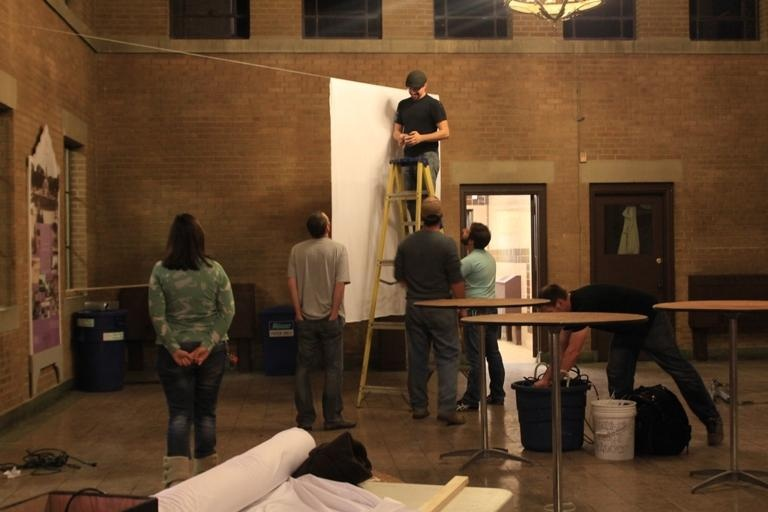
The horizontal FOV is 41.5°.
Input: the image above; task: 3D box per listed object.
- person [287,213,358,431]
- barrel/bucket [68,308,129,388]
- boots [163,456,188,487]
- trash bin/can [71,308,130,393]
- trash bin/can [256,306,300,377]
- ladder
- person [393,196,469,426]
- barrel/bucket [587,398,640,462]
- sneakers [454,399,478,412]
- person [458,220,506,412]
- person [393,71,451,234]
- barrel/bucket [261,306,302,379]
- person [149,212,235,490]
[{"bbox_3d":[-0.814,0.832,12.934,0.808,2.769,0.355,0,3,-7],"label":"person"},{"bbox_3d":[-4.323,1.413,15.545,0.923,1.233,1.054,1,-2,-41],"label":"barrel/bucket"},{"bbox_3d":[-2.203,2.279,10.775,0.340,0.351,0.289,-1,-3,12],"label":"boots"},{"bbox_3d":[-4.244,1.431,15.528,0.728,1.218,0.891,0,-1,-1],"label":"trash bin/can"},{"bbox_3d":[-1.700,1.356,16.158,0.612,1.214,0.538,2,8,-5],"label":"trash bin/can"},{"bbox_3d":[0.232,0.359,14.140,1.220,3.355,1.184,0,0,0],"label":"ladder"},{"bbox_3d":[0.657,0.699,13.394,0.950,2.884,0.853,1,2,26],"label":"person"},{"bbox_3d":[2.746,2.016,11.994,0.594,0.660,0.622,1,5,0],"label":"barrel/bucket"},{"bbox_3d":[1.130,2.030,13.724,0.339,0.146,0.114,7,-5,-9],"label":"sneakers"},{"bbox_3d":[1.310,0.838,13.696,0.725,2.425,0.633,8,3,16],"label":"person"},{"bbox_3d":[0.437,-1.383,14.229,0.710,2.365,0.788,-7,9,-38],"label":"person"},{"bbox_3d":[-1.643,1.348,16.387,0.597,1.257,0.526,4,8,0],"label":"barrel/bucket"},{"bbox_3d":[-2.095,0.939,11.131,0.863,3.015,0.855,4,4,-1],"label":"person"}]
